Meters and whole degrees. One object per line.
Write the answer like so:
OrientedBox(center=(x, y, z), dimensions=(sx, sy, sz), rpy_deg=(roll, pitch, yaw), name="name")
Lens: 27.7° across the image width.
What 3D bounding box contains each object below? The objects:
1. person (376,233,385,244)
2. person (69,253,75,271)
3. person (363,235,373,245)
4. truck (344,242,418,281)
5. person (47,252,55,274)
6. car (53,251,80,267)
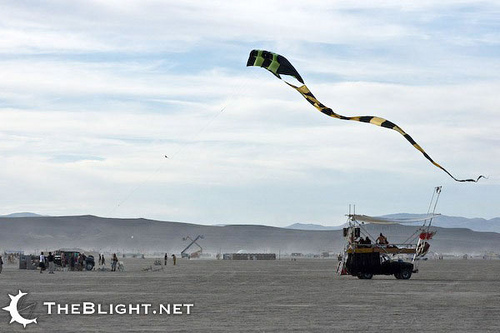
OrientedBox(center=(9.116, 4.955, 70.866), dimensions=(0.586, 0.715, 0.947), rpy_deg=(2, -3, 7), name="person")
OrientedBox(center=(-15.224, 8.137, 87.584), dimensions=(0.462, 1.439, 0.964), rpy_deg=(3, -3, -6), name="person")
OrientedBox(center=(8.113, 5.112, 70.970), dimensions=(0.469, 0.644, 0.661), rpy_deg=(6, -27, 37), name="person")
OrientedBox(center=(9.076, 6.584, 71.804), dimensions=(5.038, 2.264, 2.797), rpy_deg=(3, -6, -17), name="truck")
OrientedBox(center=(-15.878, 7.729, 81.761), dimensions=(0.505, 1.555, 1.350), rpy_deg=(4, -3, -11), name="person")
OrientedBox(center=(-15.756, 7.852, 87.925), dimensions=(2.086, 0.827, 1.197), rpy_deg=(-2, -3, -6), name="car")
